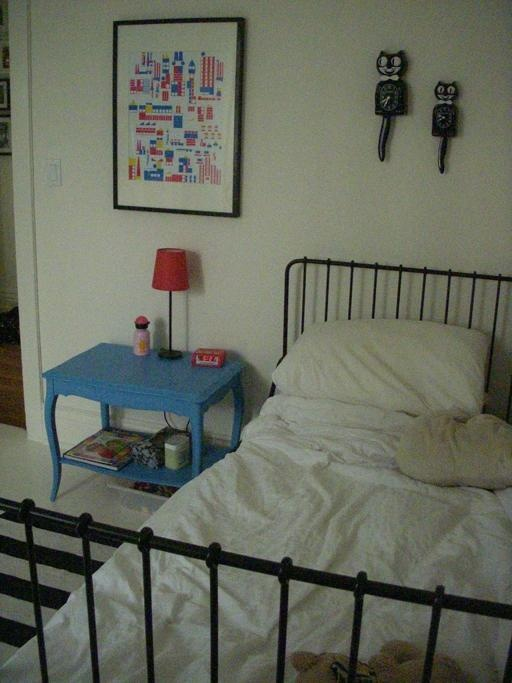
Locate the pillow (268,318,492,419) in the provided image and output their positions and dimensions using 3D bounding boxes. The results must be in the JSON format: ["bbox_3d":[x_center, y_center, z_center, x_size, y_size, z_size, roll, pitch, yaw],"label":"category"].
[{"bbox_3d":[0.405,0.084,1.888,0.465,0.111,0.354,6,41,19],"label":"pillow"}]

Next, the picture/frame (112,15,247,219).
[{"bbox_3d":[-0.275,-0.885,2.312,0.739,0.923,0.032,7,20,18],"label":"picture/frame"}]

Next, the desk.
[{"bbox_3d":[-0.379,0.137,2.381,0.790,0.606,0.575,8,18,23],"label":"desk"}]
